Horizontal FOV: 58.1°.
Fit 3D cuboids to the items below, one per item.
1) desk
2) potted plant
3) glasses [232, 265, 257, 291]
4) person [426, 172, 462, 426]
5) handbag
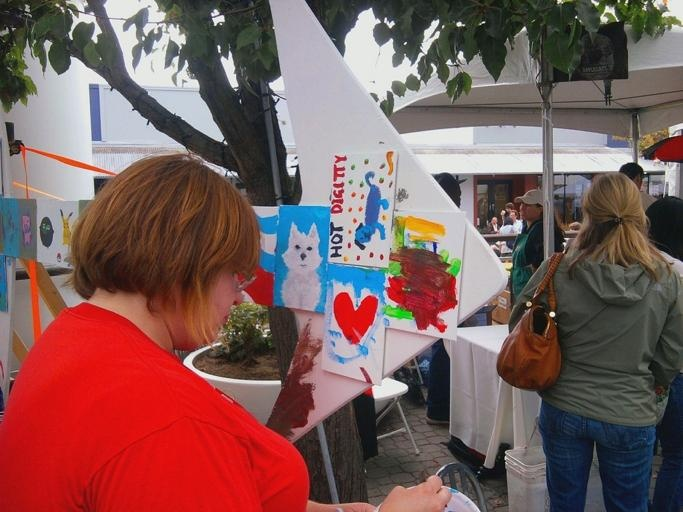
[{"bbox_3d":[1.111,0.986,4.380,0.586,0.737,0.959,6,0,-21],"label":"desk"},{"bbox_3d":[-0.717,0.786,4.471,0.791,0.331,0.911,2,10,10],"label":"potted plant"},{"bbox_3d":[-0.269,0.061,1.675,0.056,0.071,0.021,11,7,-45],"label":"glasses"},{"bbox_3d":[0.845,0.013,4.834,0.225,1.466,0.241,-1,27,8],"label":"person"},{"bbox_3d":[0.924,0.453,3.040,0.243,0.459,0.443,12,-1,0],"label":"handbag"}]
